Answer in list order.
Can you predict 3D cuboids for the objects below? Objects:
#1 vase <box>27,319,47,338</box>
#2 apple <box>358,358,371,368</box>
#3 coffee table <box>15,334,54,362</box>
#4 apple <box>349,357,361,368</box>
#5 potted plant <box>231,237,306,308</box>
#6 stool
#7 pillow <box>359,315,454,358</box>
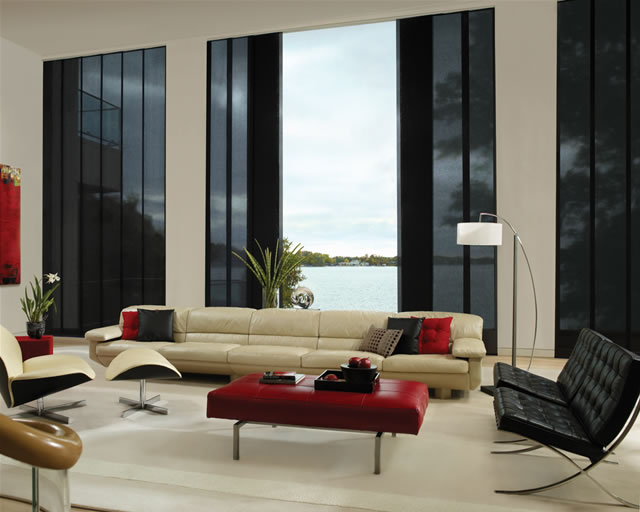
[{"bbox_3d":[-3.014,0.773,6.112,0.166,0.170,0.185,-5,-8,32],"label":"vase"},{"bbox_3d":[0.340,0.814,4.394,0.069,0.086,0.072,-5,4,10],"label":"apple"},{"bbox_3d":[-2.980,0.949,5.996,0.319,0.314,0.194,-5,-10,-12],"label":"coffee table"},{"bbox_3d":[0.270,0.815,4.400,0.074,0.068,0.074,2,-2,-37],"label":"apple"},{"bbox_3d":[-0.715,0.160,7.894,0.970,1.152,1.000,0,1,-4],"label":"potted plant"},{"bbox_3d":[-1.588,1.032,5.048,0.654,0.480,0.558,1,8,-14],"label":"stool"},{"bbox_3d":[0.871,0.814,5.702,0.929,0.352,0.498,1,14,4],"label":"pillow"}]
